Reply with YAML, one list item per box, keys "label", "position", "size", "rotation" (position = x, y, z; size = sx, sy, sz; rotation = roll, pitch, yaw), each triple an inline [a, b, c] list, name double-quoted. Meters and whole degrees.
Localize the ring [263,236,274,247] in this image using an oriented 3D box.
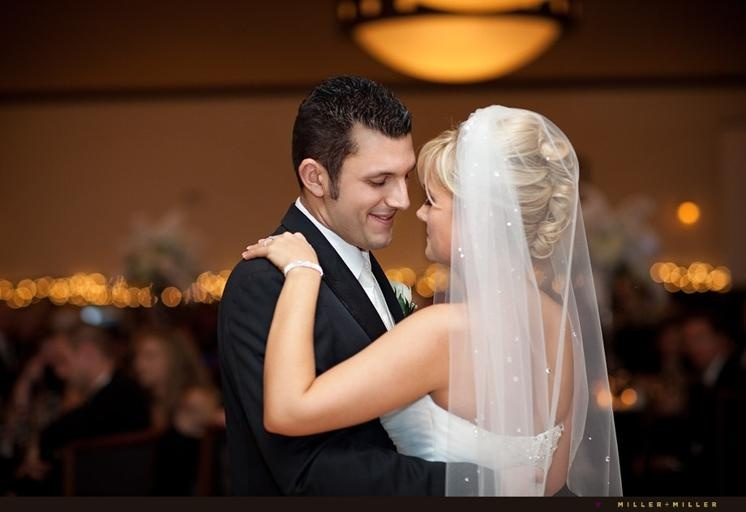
- label: "ring"
  position: [-0.681, -0.094, 5.535]
  size: [0.051, 0.037, 0.063]
  rotation: [1, -6, -35]
